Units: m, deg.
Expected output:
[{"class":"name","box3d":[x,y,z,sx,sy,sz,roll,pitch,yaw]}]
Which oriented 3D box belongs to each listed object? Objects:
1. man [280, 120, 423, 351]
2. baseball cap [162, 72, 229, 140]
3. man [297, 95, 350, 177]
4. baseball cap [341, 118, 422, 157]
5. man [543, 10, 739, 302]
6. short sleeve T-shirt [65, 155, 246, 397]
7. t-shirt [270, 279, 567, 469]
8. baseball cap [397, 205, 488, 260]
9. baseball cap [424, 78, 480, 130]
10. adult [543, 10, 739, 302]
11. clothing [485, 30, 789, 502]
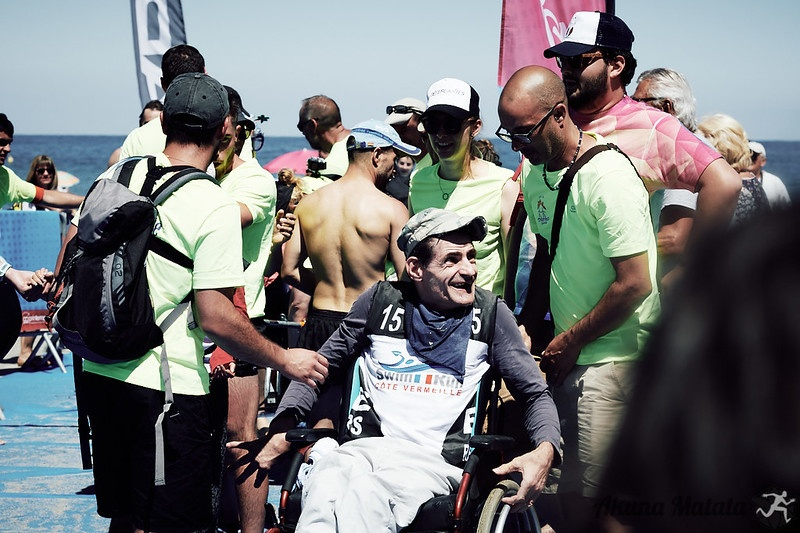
[{"class":"man","box3d":[-0.409,0.371,7.199,0.972,2.919,0.951,5,12,2]},{"class":"baseball cap","box3d":[-1.177,-0.970,5.380,0.366,0.306,0.536,6,21,-8]},{"class":"man","box3d":[-0.699,-1.347,9.643,0.691,0.860,1.088,-3,11,4]},{"class":"baseball cap","box3d":[-0.088,-0.982,7.067,0.559,0.247,0.369,5,4,-12]},{"class":"man","box3d":[1.564,-0.936,6.003,1.215,1.462,0.454,3,2,20]},{"class":"short sleeve T-shirt","box3d":[-1.383,-0.022,5.441,1.032,1.242,0.644,17,21,24]},{"class":"t-shirt","box3d":[0.135,0.621,5.579,1.808,1.189,0.984,5,-3,23]},{"class":"baseball cap","box3d":[0.275,-0.188,5.634,0.399,0.213,0.315,-22,-8,28]},{"class":"baseball cap","box3d":[0.378,-1.211,6.717,0.383,0.295,0.544,4,13,26]},{"class":"adult","box3d":[1.564,-0.936,6.003,1.215,1.462,0.454,3,2,20]},{"class":"clothing","box3d":[1.873,-0.295,8.216,1.946,4.929,2.602,2,1,-5]}]
